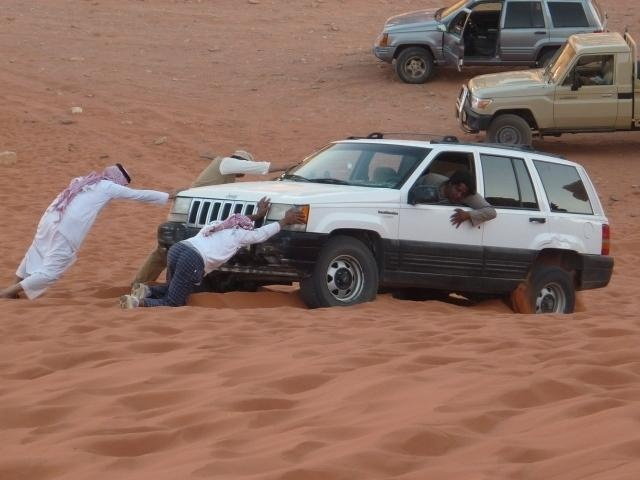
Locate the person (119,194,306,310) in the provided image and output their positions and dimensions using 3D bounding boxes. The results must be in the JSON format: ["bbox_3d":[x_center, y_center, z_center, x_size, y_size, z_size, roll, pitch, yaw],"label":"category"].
[{"bbox_3d":[-1.207,0.132,7.125,2.028,1.137,0.561,-4,15,-8],"label":"person"}]

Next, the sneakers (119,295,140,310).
[{"bbox_3d":[-2.036,0.661,6.944,0.237,0.096,0.131,2,14,-13],"label":"sneakers"}]

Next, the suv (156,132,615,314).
[{"bbox_3d":[1.021,-0.250,8.395,6.017,1.409,2.618,3,0,-18],"label":"suv"}]

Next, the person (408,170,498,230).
[{"bbox_3d":[1.590,-0.508,7.875,0.922,0.353,0.958,1,20,-24],"label":"person"}]
